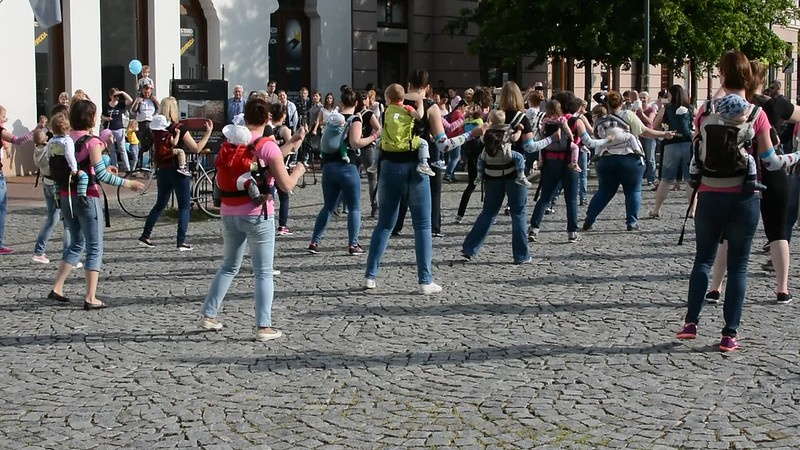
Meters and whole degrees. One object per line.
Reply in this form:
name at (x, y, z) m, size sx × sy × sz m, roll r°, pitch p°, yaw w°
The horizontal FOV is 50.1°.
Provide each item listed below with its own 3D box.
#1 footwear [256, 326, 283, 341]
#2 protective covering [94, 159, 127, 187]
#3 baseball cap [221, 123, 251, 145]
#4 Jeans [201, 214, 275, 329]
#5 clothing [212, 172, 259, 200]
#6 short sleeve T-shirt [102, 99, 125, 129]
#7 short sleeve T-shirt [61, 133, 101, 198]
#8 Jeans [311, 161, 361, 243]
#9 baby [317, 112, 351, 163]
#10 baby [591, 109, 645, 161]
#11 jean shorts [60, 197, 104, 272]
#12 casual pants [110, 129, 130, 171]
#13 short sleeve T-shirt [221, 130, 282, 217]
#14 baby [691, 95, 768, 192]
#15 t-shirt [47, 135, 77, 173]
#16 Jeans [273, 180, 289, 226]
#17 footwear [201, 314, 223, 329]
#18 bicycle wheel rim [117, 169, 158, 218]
footwear at (-1.590, 1.281, 10.358) m, size 0.134 × 0.109 × 0.299 m, roll 4°, pitch 9°, yaw 32°
protective covering at (-3.903, -0.652, 11.361) m, size 0.311 × 0.324 × 0.638 m, roll -9°, pitch 18°, yaw -29°
baseball cap at (-1.937, -1.053, 10.155) m, size 0.313 × 0.224 × 0.219 m, roll -3°, pitch 16°, yaw -8°
Jeans at (-1.978, 0.535, 10.338) m, size 0.851 × 1.318 × 0.415 m, roll 2°, pitch 16°, yaw 8°
clothing at (-1.855, -0.427, 10.087) m, size 0.406 × 0.165 × 0.387 m, roll 3°, pitch -15°, yaw 9°
short sleeve T-shirt at (-8.422, -3.117, 24.828) m, size 0.863 × 0.823 × 0.470 m, roll -4°, pitch -3°, yaw -33°
short sleeve T-shirt at (-4.219, -0.803, 11.541) m, size 0.372 × 0.847 × 0.544 m, roll -7°, pitch 17°, yaw -23°
Jeans at (-0.993, -0.339, 13.821) m, size 0.863 × 1.479 × 0.570 m, roll 4°, pitch 0°, yaw -2°
baby at (-1.025, -1.377, 13.591) m, size 0.308 × 0.666 × 0.582 m, roll 9°, pitch 8°, yaw -1°
baby at (3.925, -1.611, 15.637) m, size 0.885 × 0.781 × 0.838 m, roll -4°, pitch -11°, yaw -9°
jean shorts at (-4.295, 0.116, 11.450) m, size 0.547 × 0.996 × 0.723 m, roll -6°, pitch 17°, yaw -17°
casual pants at (-8.304, -2.170, 24.890) m, size 0.563 × 1.448 × 0.379 m, roll -1°, pitch -37°, yaw -22°
short sleeve T-shirt at (-1.906, -0.624, 10.392) m, size 0.707 × 0.870 × 0.637 m, roll 8°, pitch 5°, yaw 30°
baby at (3.772, -0.923, 9.786) m, size 0.731 × 1.029 × 0.397 m, roll 4°, pitch 16°, yaw 17°
t-shirt at (-4.557, -0.932, 11.486) m, size 0.509 × 0.440 × 0.213 m, roll 8°, pitch 14°, yaw 30°
Jeans at (-2.204, -0.313, 15.878) m, size 0.254 × 0.954 × 0.293 m, roll 18°, pitch -44°, yaw -33°
footwear at (-2.356, 1.182, 10.565) m, size 0.115 × 0.120 × 0.276 m, roll 29°, pitch 8°, yaw 33°
bicycle wheel rim at (-5.314, -0.626, 17.282) m, size 0.183 × 0.955 × 1.038 m, roll 3°, pitch 10°, yaw 40°
